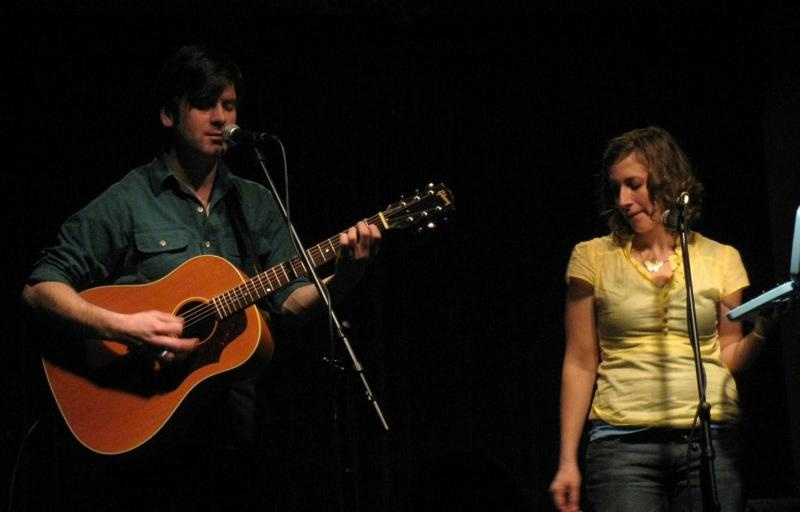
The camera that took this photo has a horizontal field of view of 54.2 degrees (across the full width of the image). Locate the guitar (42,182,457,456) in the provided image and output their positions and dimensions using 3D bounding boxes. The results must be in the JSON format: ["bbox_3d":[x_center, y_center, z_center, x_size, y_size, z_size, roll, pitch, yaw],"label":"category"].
[{"bbox_3d":[-0.769,0.281,4.131,2.407,0.923,0.322,-24,3,-14],"label":"guitar"}]

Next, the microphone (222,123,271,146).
[{"bbox_3d":[-0.739,-0.568,3.726,0.100,0.090,0.333,-13,10,-41],"label":"microphone"}]

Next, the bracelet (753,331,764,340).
[{"bbox_3d":[1.640,0.367,3.584,0.034,0.008,0.035,13,-18,46],"label":"bracelet"}]
